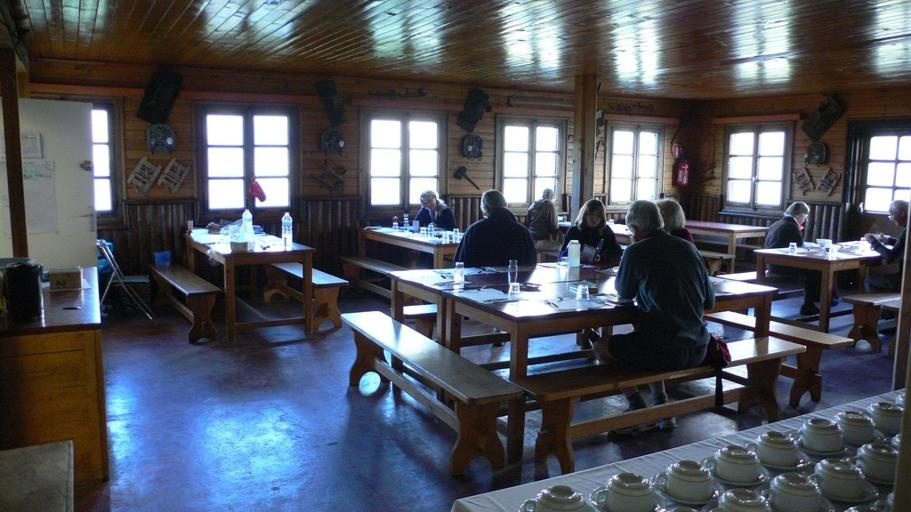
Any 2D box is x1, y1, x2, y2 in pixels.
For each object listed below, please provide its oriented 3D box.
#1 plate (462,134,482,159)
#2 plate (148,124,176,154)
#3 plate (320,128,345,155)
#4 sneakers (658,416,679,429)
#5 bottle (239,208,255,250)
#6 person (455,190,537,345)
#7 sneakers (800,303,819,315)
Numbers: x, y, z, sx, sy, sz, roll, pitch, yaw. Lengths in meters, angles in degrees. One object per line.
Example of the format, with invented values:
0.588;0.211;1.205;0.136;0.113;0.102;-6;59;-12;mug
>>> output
0.309;-2.176;11.861;0.453;0.488;0.170;-1;6;-13;plate
-4.790;-1.901;9.695;0.578;0.534;0.104;-2;8;-30;plate
-2.181;-2.027;10.606;0.411;0.458;0.180;-5;17;-19;plate
2.118;1.705;6.109;0.224;0.122;0.098;0;1;-8;sneakers
-3.226;-0.407;9.224;0.164;0.488;0.155;0;5;0;bottle
0.579;-0.036;7.552;1.089;1.539;0.456;-7;26;1;person
5.419;0.834;9.197;0.218;0.184;0.218;-4;-7;27;sneakers
